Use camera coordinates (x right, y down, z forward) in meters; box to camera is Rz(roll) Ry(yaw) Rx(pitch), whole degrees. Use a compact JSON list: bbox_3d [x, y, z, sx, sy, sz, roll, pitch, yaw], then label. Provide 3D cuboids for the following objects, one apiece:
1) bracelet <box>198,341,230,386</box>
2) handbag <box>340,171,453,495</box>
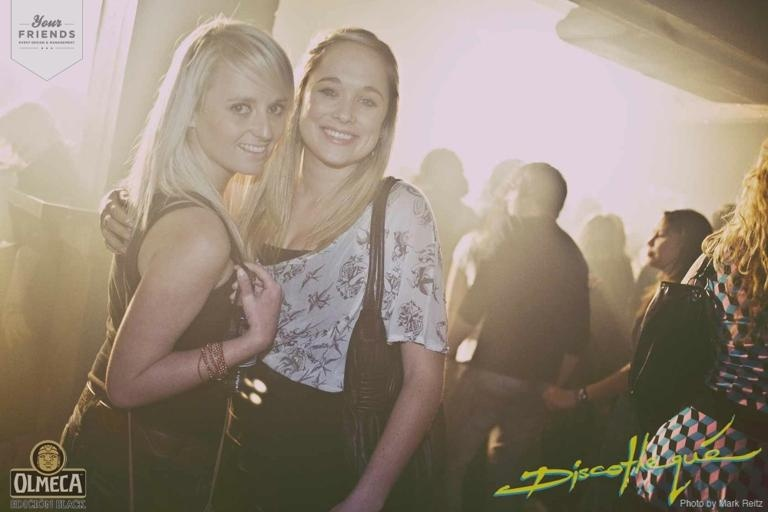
[{"bbox_3d":[-0.608,0.393,2.072,0.045,0.124,0.115,0,6,29],"label":"bracelet"},{"bbox_3d":[-0.019,0.282,2.184,0.215,0.844,0.115,11,5,34],"label":"handbag"}]
